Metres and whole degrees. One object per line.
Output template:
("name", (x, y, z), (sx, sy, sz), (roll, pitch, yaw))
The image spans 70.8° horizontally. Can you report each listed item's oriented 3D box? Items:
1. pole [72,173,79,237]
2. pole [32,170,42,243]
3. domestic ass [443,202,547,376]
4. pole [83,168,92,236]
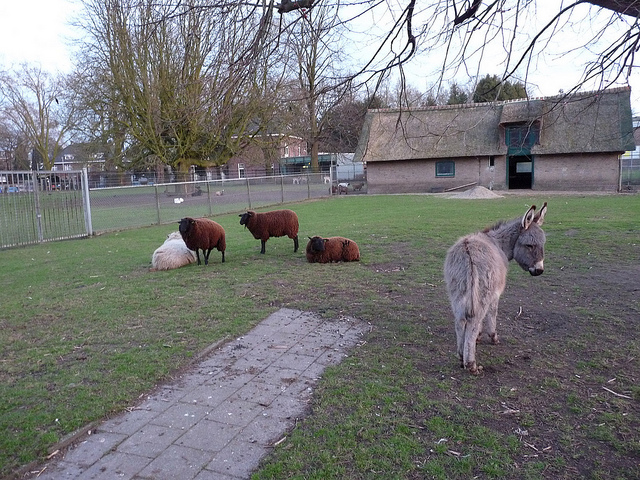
("pole", (-9.648, -1.330, 17.783), (0.130, 2.461, 0.497), (-8, 12, -28))
("pole", (-10.349, -1.152, 16.475), (0.116, 2.581, 0.569), (-11, 13, -39))
("domestic ass", (2.507, 0.663, 6.605), (1.633, 2.243, 0.771), (-10, 13, -36))
("pole", (-9.399, -1.530, 18.198), (0.213, 2.632, 0.594), (-8, 12, -27))
